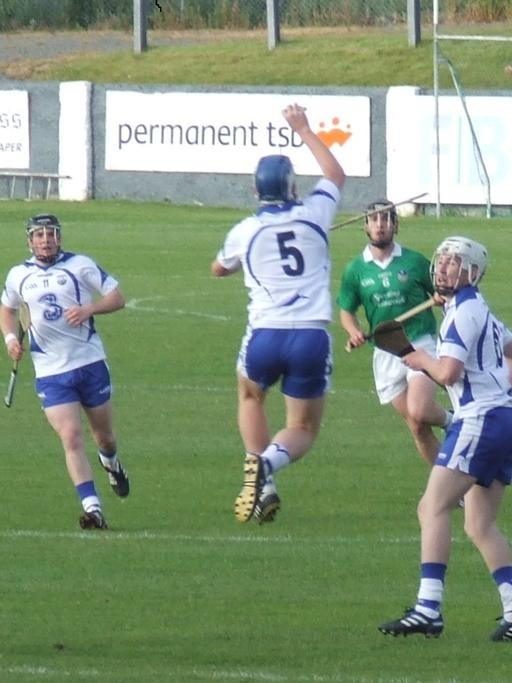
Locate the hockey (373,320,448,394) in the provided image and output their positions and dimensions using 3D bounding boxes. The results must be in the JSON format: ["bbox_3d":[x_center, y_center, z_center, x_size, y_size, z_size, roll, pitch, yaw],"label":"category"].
[{"bbox_3d":[0.890,0.055,10.808,0.288,0.436,0.369,16,24,41],"label":"hockey"}]

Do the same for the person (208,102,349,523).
[{"bbox_3d":[0.088,-0.174,10.966,1.094,2.383,0.850,1,2,34],"label":"person"}]

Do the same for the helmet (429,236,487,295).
[{"bbox_3d":[1.219,-0.477,10.212,0.256,0.376,0.243,1,15,26],"label":"helmet"}]

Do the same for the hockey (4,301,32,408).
[{"bbox_3d":[-1.881,0.133,13.509,0.195,0.818,0.200,-6,13,-13],"label":"hockey"}]

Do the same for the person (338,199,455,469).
[{"bbox_3d":[0.945,-0.132,12.462,0.752,1.968,0.956,5,19,9],"label":"person"}]

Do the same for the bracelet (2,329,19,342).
[{"bbox_3d":[-1.734,-0.026,12.078,0.074,0.088,0.084,7,13,21],"label":"bracelet"}]

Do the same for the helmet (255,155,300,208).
[{"bbox_3d":[0.125,-1.017,10.855,0.212,0.330,0.186,-1,21,12],"label":"helmet"}]

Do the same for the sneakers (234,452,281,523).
[{"bbox_3d":[0.001,0.976,10.507,0.190,0.514,0.231,13,37,16],"label":"sneakers"}]
